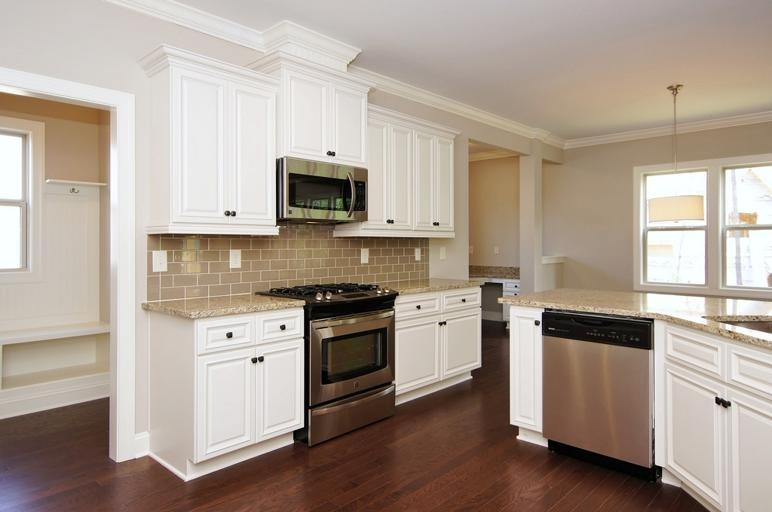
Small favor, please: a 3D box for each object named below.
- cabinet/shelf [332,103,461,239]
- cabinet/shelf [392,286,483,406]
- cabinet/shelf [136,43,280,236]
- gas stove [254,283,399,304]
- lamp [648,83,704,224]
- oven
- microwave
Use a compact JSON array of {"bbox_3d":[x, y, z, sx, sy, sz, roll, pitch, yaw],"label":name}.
[{"bbox_3d":[0.098,-0.818,5.715,0.586,1.288,1.638,1,2,39],"label":"cabinet/shelf"},{"bbox_3d":[0.475,0.907,5.198,1.257,0.974,0.682,0,-2,-44],"label":"cabinet/shelf"},{"bbox_3d":[-1.436,-0.901,4.270,1.086,1.445,0.386,-3,5,-26],"label":"cabinet/shelf"},{"bbox_3d":[-0.569,0.351,4.716,1.082,0.124,0.768,-4,5,-40],"label":"gas stove"},{"bbox_3d":[3.572,-1.199,6.292,0.483,1.565,2.629,1,5,30],"label":"lamp"},{"bbox_3d":[-0.534,1.046,4.778,1.038,1.051,0.790,-3,5,-43],"label":"oven"},{"bbox_3d":[-0.589,-0.583,4.687,0.539,0.552,1.007,-1,-1,41],"label":"microwave"}]
